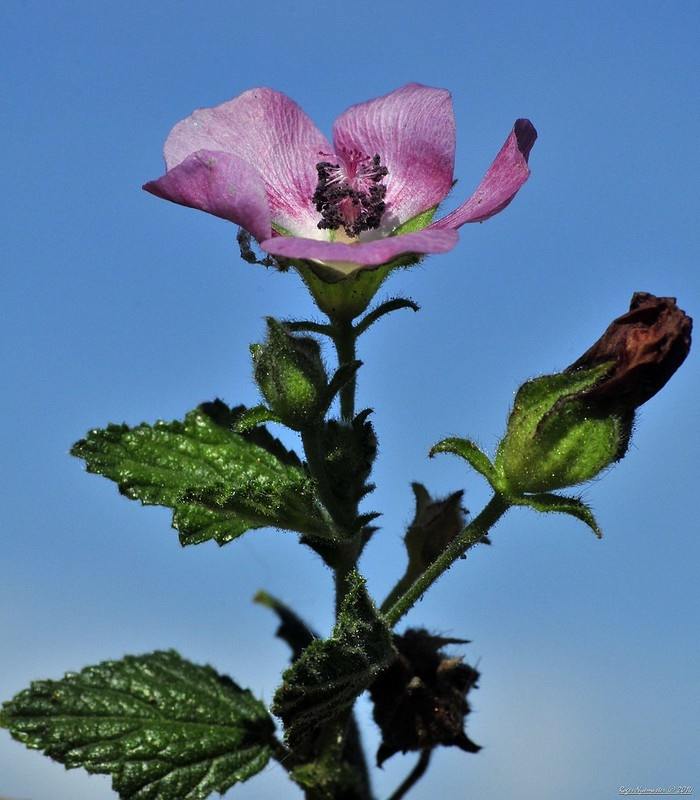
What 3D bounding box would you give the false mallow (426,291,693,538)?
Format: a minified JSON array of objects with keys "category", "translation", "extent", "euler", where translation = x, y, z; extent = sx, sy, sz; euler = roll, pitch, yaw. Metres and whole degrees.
[{"category":"false mallow","translation":[0.320,0.029,2.136],"extent":[0.381,0.342,0.109],"euler":[-10,-24,23]}]
